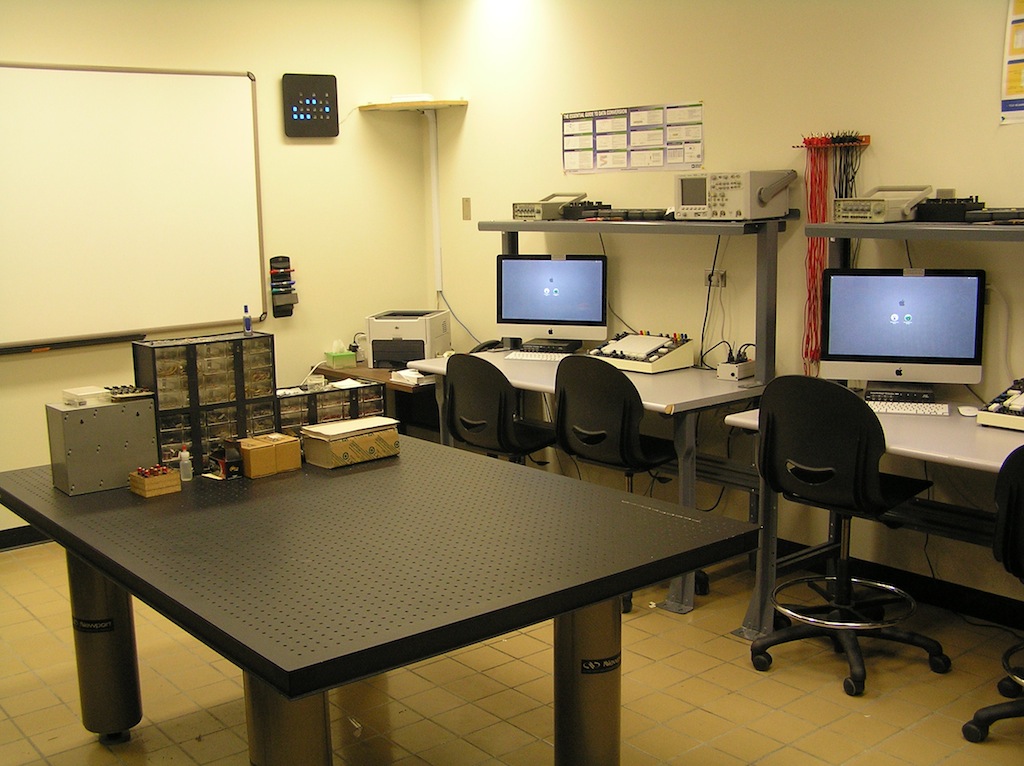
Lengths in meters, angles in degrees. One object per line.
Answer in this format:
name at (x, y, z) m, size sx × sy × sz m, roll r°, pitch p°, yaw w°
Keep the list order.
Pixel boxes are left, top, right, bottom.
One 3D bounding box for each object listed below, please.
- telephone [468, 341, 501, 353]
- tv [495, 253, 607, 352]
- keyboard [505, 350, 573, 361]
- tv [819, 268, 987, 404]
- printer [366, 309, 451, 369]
telephone at (-0.159, -0.224, 4.974) m, size 0.149 × 0.046 × 0.105 m, roll -11°, pitch 19°, yaw -28°
tv at (0.268, -0.508, 4.785) m, size 0.717 × 0.545 × 0.209 m, roll 4°, pitch 12°, yaw 25°
keyboard at (0.140, -0.152, 4.602) m, size 0.236 × 0.017 × 0.075 m, roll 7°, pitch 23°, yaw 26°
tv at (1.728, -0.209, 3.428) m, size 0.606 × 0.465 × 0.141 m, roll 3°, pitch 8°, yaw 28°
printer at (-0.756, -0.290, 5.240) m, size 0.583 × 0.326 × 0.583 m, roll 9°, pitch 12°, yaw 41°
